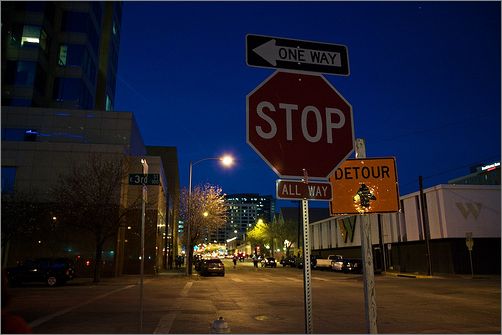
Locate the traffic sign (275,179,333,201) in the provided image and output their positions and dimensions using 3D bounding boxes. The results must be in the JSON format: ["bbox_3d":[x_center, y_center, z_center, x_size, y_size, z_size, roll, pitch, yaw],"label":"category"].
[{"bbox_3d":[1.975,0.845,15.731,2.097,0.692,0.196,2,-14,-6],"label":"traffic sign"}]

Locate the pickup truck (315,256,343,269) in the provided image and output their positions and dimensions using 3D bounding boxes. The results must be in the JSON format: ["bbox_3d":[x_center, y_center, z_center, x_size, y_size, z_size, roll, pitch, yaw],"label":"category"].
[{"bbox_3d":[11.180,13.556,61.066,2.614,2.268,4.784,0,-6,12],"label":"pickup truck"}]

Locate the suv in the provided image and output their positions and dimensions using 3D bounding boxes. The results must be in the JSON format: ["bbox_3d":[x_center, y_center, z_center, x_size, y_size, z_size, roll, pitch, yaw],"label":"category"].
[{"bbox_3d":[-17.802,9.025,36.779,4.806,2.373,0.912,5,-15,-17],"label":"suv"}]
